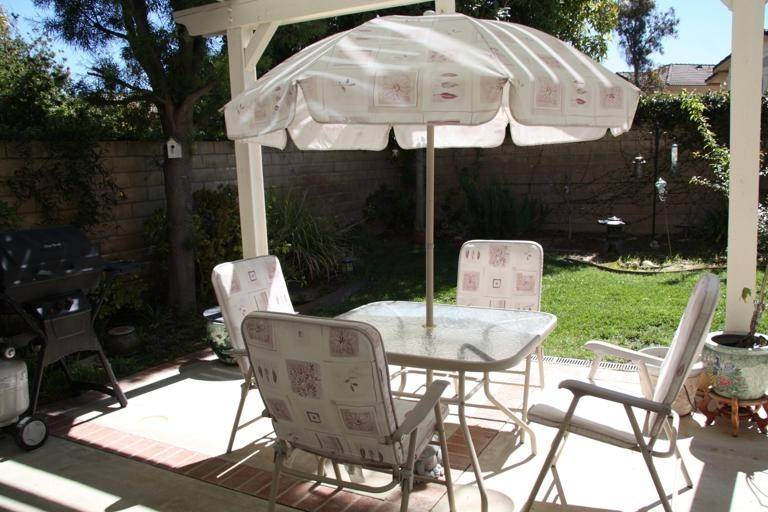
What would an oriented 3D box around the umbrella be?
[{"bbox_3d":[0.219,-0.215,3.689,2.307,2.049,2.385,-4,8,-5],"label":"umbrella"}]
